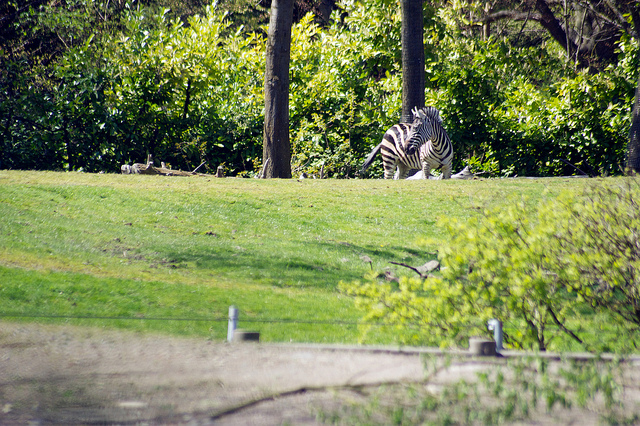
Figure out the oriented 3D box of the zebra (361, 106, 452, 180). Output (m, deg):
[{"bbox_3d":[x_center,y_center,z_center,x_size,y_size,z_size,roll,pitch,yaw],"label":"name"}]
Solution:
[{"bbox_3d":[2.453,-1.737,28.035,1.638,1.608,2.618,5,-1,-3],"label":"zebra"}]
